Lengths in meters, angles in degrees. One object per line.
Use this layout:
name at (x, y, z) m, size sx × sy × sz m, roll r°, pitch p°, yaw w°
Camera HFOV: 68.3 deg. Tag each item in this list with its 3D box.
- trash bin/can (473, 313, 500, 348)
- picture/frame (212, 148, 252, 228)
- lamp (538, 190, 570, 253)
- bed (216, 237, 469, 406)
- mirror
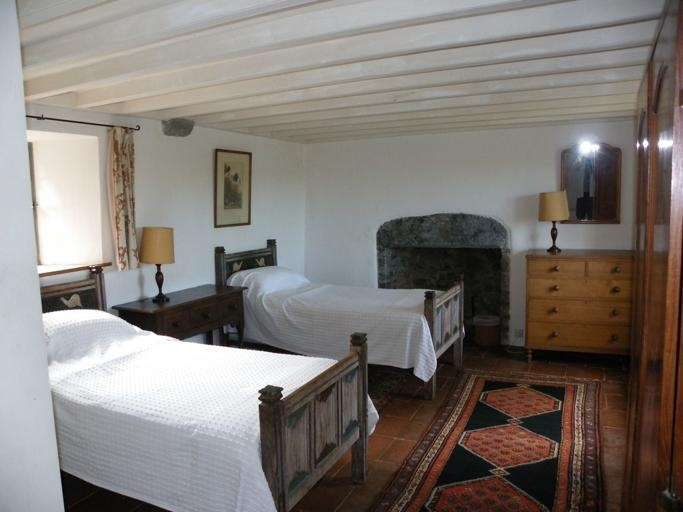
trash bin/can at (1.898, 0.989, 6.816) m, size 0.353 × 0.371 × 0.357 m, roll -2°, pitch 5°, yaw -3°
picture/frame at (-1.370, -0.854, 6.366) m, size 0.062 × 0.955 × 0.690 m, roll 3°, pitch 9°, yaw 29°
lamp at (2.532, -0.421, 6.059) m, size 0.335 × 0.716 × 0.560 m, roll 2°, pitch 9°, yaw 25°
bed at (-0.030, 0.595, 5.975) m, size 2.488 × 1.607 × 1.559 m, roll 2°, pitch 8°, yaw 24°
mirror at (3.010, -0.883, 6.114) m, size 0.647 × 0.935 × 0.140 m, roll 3°, pitch 9°, yaw 30°
